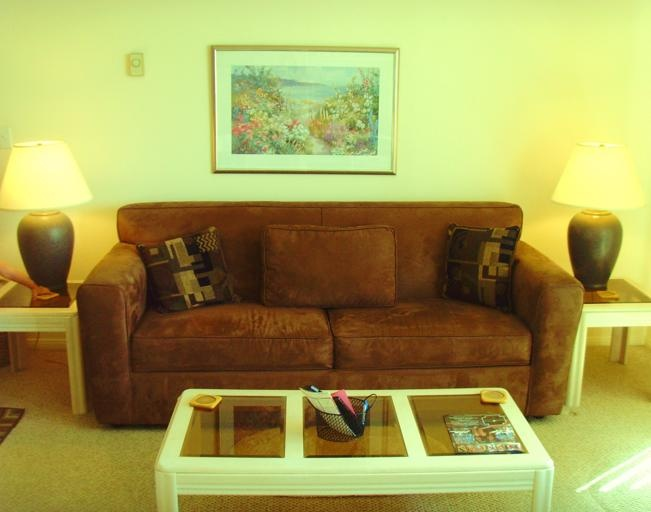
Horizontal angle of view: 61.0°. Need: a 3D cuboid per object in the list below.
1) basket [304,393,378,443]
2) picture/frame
[{"bbox_3d":[0.058,0.622,2.121,0.281,0.157,0.167,1,-5,3],"label":"basket"},{"bbox_3d":[-0.152,-0.944,3.428,0.848,0.533,0.028,0,10,-2],"label":"picture/frame"}]
